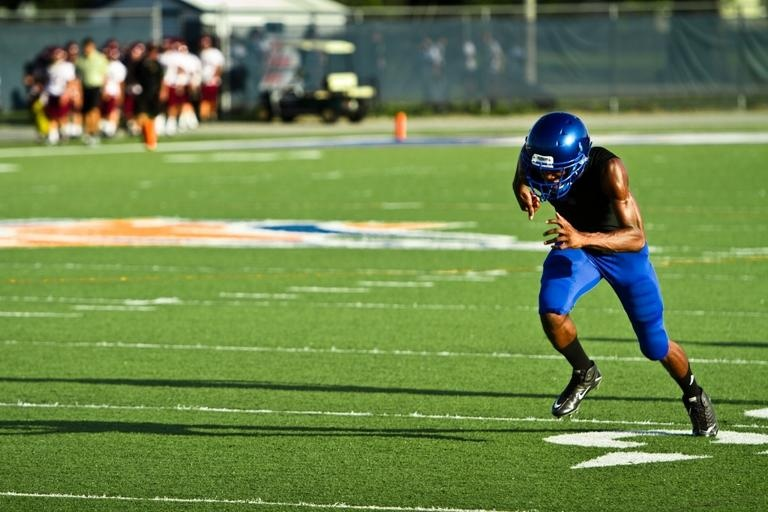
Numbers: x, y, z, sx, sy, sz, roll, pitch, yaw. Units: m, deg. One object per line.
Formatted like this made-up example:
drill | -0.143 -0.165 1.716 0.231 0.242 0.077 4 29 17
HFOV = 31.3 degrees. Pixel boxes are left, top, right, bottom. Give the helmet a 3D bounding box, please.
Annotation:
helmet | 1.601 -0.875 12.622 0.494 0.485 0.598 21 62 39

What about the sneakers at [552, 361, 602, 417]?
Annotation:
sneakers | 1.880 1.291 13.215 0.187 0.530 0.261 40 -3 34

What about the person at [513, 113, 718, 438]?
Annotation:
person | 2.067 0.194 12.762 1.586 3.049 0.742 -4 9 3
